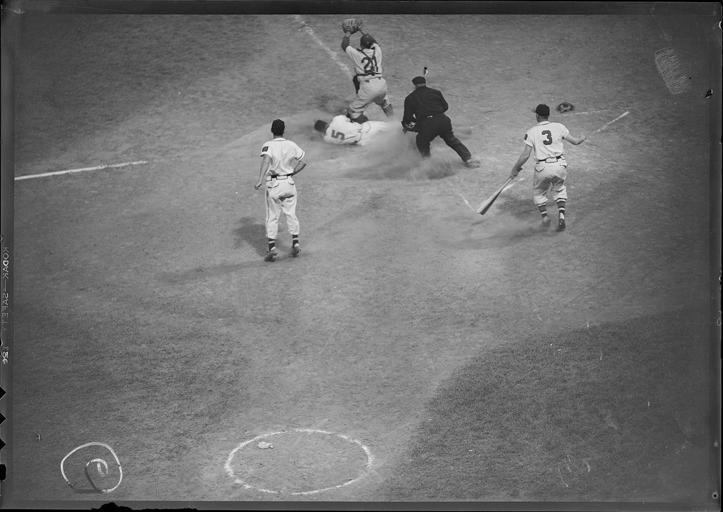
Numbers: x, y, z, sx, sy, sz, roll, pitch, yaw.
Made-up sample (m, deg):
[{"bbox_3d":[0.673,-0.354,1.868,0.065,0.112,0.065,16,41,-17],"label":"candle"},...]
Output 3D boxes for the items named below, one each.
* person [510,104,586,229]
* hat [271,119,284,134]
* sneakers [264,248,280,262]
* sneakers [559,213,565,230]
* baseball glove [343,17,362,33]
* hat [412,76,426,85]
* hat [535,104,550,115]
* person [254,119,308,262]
[{"bbox_3d":[1.941,-0.941,7.572,0.577,1.264,0.562,8,27,33],"label":"person"},{"bbox_3d":[-0.869,-1.371,7.498,0.128,0.150,0.152,1,36,-3],"label":"hat"},{"bbox_3d":[-0.944,-0.008,7.562,0.184,0.164,0.093,3,-2,-1],"label":"sneakers"},{"bbox_3d":[2.119,-0.366,7.537,0.064,0.176,0.072,1,-11,6],"label":"sneakers"},{"bbox_3d":[-0.097,-2.447,7.515,0.186,0.129,0.134,-3,11,13],"label":"baseball glove"},{"bbox_3d":[0.610,-1.873,7.565,0.103,0.089,0.026,2,-13,5],"label":"hat"},{"bbox_3d":[1.916,-1.549,7.531,0.149,0.117,0.089,-2,23,12],"label":"hat"},{"bbox_3d":[-0.839,-0.702,7.492,0.475,1.381,0.693,-2,23,14],"label":"person"}]
